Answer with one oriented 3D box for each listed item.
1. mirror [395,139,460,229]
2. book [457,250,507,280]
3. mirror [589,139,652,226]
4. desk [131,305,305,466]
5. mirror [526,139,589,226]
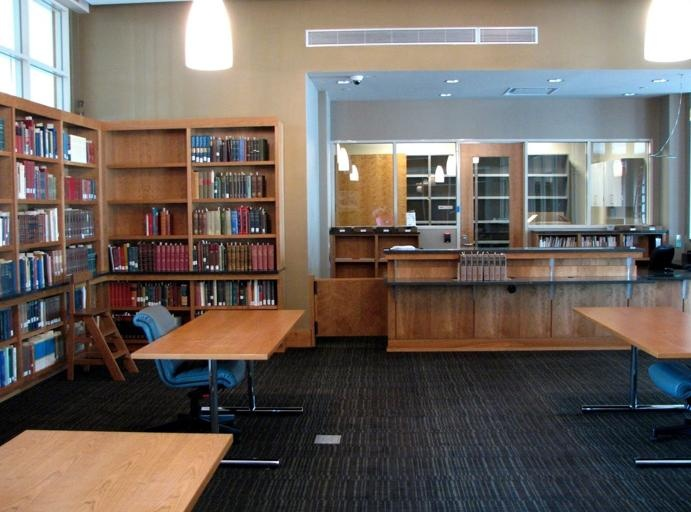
[{"bbox_3d":[1.498,-1.406,10.364,1.774,2.186,0.085,-1,1,-2],"label":"mirror"},{"bbox_3d":[1.744,0.126,7.171,0.580,0.354,0.192,1,11,7],"label":"book"},{"bbox_3d":[5.042,-1.337,10.266,1.046,1.504,0.463,3,12,20],"label":"mirror"},{"bbox_3d":[-1.028,1.138,4.939,1.091,1.048,1.322,1,11,6],"label":"desk"},{"bbox_3d":[3.922,-1.337,10.318,1.078,1.481,0.201,0,11,1],"label":"mirror"}]
